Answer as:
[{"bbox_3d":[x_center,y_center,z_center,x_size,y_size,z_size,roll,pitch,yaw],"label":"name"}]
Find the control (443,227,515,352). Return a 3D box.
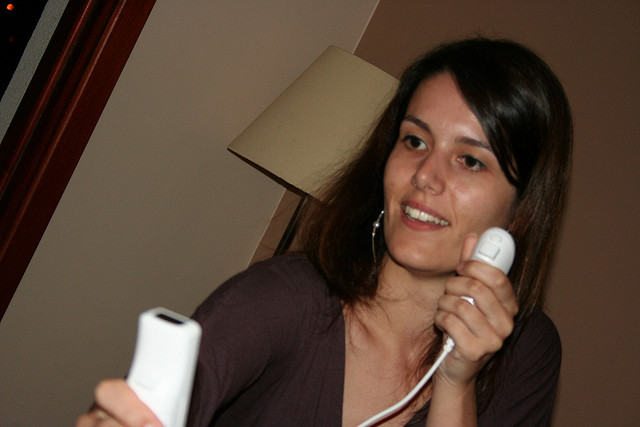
[{"bbox_3d":[0.361,0.179,1.243,0.096,0.335,0.088,20,-27,36],"label":"control"}]

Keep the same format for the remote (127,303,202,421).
[{"bbox_3d":[-0.313,0.305,1.080,0.146,0.202,0.140,18,-15,-8],"label":"remote"}]

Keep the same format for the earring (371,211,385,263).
[{"bbox_3d":[0.159,0.065,1.523,0.036,0.144,0.012,7,-16,29],"label":"earring"}]
